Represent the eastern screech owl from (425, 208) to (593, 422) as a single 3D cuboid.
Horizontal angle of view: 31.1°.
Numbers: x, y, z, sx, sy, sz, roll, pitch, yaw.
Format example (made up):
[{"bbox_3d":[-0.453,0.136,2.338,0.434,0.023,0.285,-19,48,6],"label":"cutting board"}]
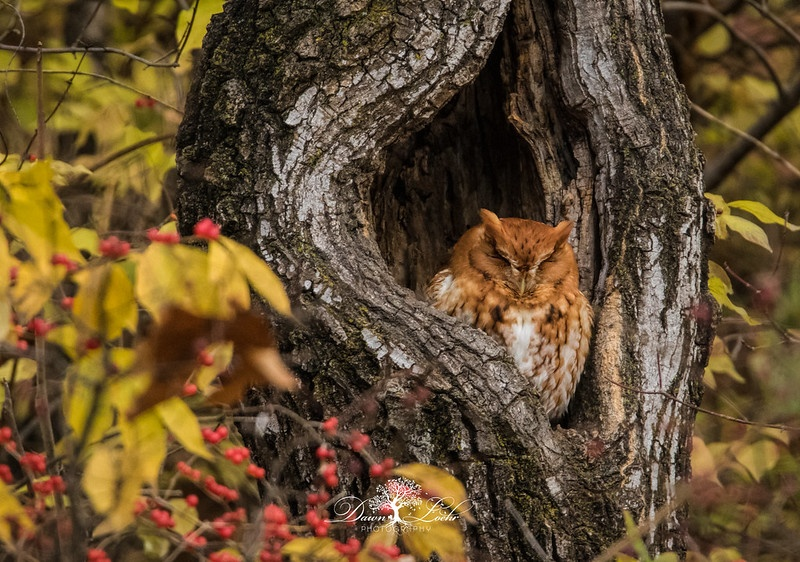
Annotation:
[{"bbox_3d":[0.490,0.226,7.221,0.880,1.150,0.864,2,6,-33],"label":"eastern screech owl"}]
